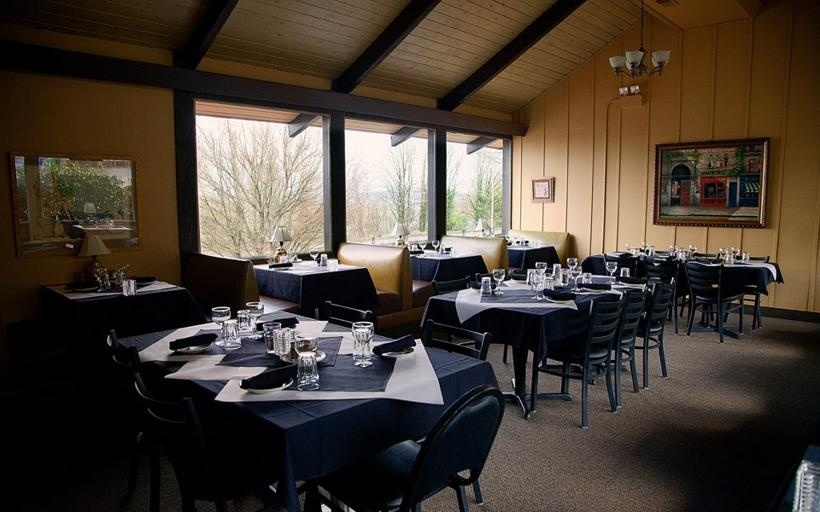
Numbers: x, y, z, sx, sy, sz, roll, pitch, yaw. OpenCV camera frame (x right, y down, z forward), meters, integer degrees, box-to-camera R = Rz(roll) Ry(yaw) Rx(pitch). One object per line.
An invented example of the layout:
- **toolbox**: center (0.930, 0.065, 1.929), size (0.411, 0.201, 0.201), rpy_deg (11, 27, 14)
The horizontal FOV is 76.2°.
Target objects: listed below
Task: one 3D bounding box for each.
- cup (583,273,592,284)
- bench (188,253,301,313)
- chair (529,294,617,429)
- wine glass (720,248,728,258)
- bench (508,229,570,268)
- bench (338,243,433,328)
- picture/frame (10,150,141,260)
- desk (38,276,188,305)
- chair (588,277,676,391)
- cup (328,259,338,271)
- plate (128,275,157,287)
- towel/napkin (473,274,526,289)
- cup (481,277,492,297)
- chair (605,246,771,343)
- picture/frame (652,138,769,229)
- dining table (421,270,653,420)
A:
- **cup**: center (2.135, 0.262, 6.263), size (0.123, 0.134, 0.120), rpy_deg (-1, -1, 0)
- **bench**: center (-2.553, 0.354, 7.035), size (1.341, 0.758, 0.368), rpy_deg (4, 7, 41)
- **chair**: center (1.845, 1.087, 5.757), size (0.844, 1.308, 1.238), rpy_deg (4, 6, 36)
- **wine glass**: center (5.206, -0.055, 8.709), size (0.121, 0.172, 0.063), rpy_deg (5, -13, 31)
- **bench**: center (2.779, -0.218, 10.923), size (0.903, 0.554, 0.919), rpy_deg (2, 1, 40)
- **bench**: center (-0.387, 0.403, 8.407), size (2.009, 1.373, 1.123), rpy_deg (3, 5, 42)
- **picture/frame**: center (-4.306, -0.661, 6.652), size (1.374, 1.273, 0.090), rpy_deg (-5, 8, -33)
- **desk**: center (-3.584, 0.417, 6.106), size (1.830, 0.290, 0.879), rpy_deg (1, 5, 4)
- **chair**: center (2.902, 0.942, 7.037), size (1.258, 1.823, 1.233), rpy_deg (1, 1, 20)
- **cup**: center (-1.088, 0.121, 7.505), size (0.158, 0.167, 0.149), rpy_deg (0, 8, 0)
- **plate**: center (-3.262, 0.294, 6.372), size (0.215, 0.051, 0.218), rpy_deg (2, 4, 17)
- **towel/napkin**: center (0.977, 0.314, 6.355), size (0.419, 0.176, 0.258), rpy_deg (1, 5, 34)
- **cup**: center (0.911, 0.348, 6.045), size (0.175, 0.272, 0.176), rpy_deg (-1, 4, 0)
- **chair**: center (4.750, 0.480, 7.995), size (1.796, 0.890, 1.279), rpy_deg (7, 13, 45)
- **picture/frame**: center (5.420, -1.306, 9.325), size (1.607, 1.520, 0.117), rpy_deg (5, 8, 37)
- **dining table**: center (1.360, 0.567, 5.801), size (2.036, 1.066, 1.492), rpy_deg (-3, 6, -44)
